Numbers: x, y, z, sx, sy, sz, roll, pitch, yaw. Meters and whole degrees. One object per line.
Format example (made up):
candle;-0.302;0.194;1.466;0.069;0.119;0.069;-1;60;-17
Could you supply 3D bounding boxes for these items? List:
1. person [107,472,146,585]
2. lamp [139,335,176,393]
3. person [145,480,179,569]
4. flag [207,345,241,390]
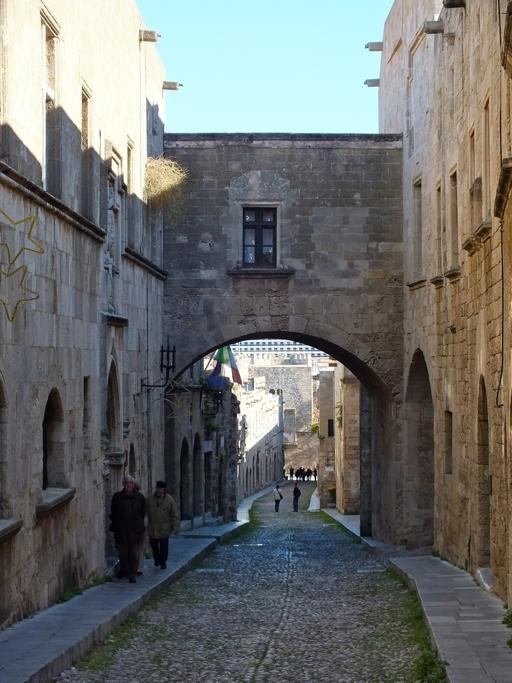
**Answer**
person;-1.467;2.126;12.592;0.392;1.286;0.486;1;12;-1
lamp;-1.720;0.368;19.772;0.434;0.911;0.623;3;28;-3
person;-1.214;2.291;14.004;0.367;1.206;0.397;0;11;-11
flag;-0.809;0.563;28.029;0.795;1.263;3.330;-1;-7;-3
